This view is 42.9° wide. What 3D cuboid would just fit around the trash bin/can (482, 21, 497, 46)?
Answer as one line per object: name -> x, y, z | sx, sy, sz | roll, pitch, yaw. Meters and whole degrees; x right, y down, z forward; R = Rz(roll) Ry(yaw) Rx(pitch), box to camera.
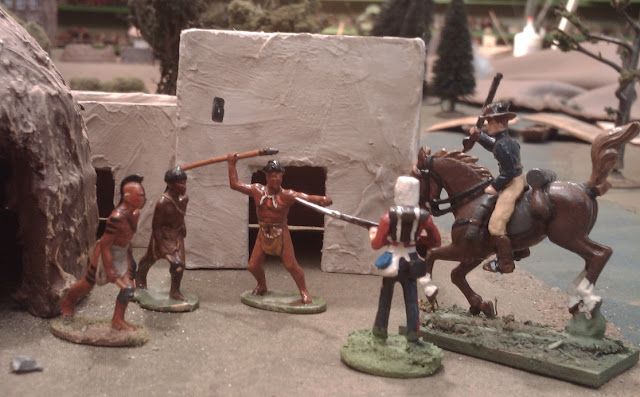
trash bin/can -> 4.135, -3.999, 19.887 | 0.393, 0.510, 0.788 | 5, 20, 10
